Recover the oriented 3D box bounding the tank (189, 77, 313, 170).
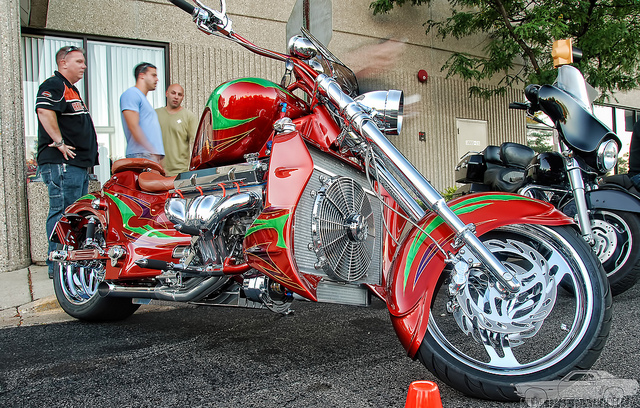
[{"bbox_3d":[-0.518,-0.663,4.283,1.026,0.761,0.765,0,-9,6],"label":"tank"}]

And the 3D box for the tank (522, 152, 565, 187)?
[{"bbox_3d":[2.380,-0.368,5.270,0.266,0.194,0.363,-10,18,-9],"label":"tank"}]

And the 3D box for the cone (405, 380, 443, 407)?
[{"bbox_3d":[0.637,1.165,3.056,0.159,0.107,0.160,-1,-3,-15],"label":"cone"}]

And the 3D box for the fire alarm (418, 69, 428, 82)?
[{"bbox_3d":[2.319,-2.889,11.337,0.237,0.239,0.055,-43,25,-26],"label":"fire alarm"}]

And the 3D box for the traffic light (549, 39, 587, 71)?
[{"bbox_3d":[2.584,-1.552,5.155,0.222,0.218,0.297,-8,18,-33],"label":"traffic light"}]
